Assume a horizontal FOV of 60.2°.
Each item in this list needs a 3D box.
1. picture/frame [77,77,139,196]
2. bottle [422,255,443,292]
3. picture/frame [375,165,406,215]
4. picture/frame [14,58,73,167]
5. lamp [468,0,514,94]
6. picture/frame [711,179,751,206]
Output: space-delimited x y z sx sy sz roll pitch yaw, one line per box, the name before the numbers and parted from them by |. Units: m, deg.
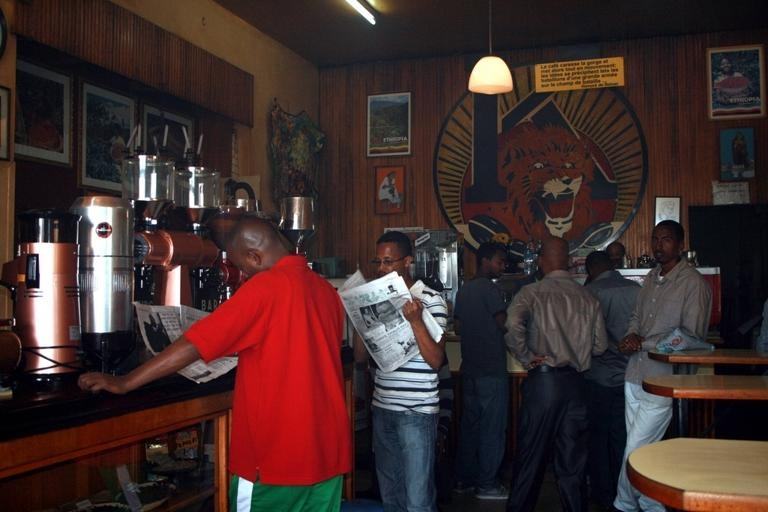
picture/frame | -2.303 -0.981 5.542 0.111 0.626 0.510 -4 -1 30
bottle | 0.539 0.204 7.167 0.222 0.350 0.129 -3 -5 -5
picture/frame | 0.090 -0.861 8.570 0.415 0.546 0.041 -4 -1 18
picture/frame | -2.593 -1.098 5.062 0.107 0.518 0.431 -4 -1 25
lamp | 1.067 -2.077 6.730 0.383 0.901 1.624 -4 -1 10
picture/frame | 3.946 -0.726 7.547 0.371 0.293 0.028 -4 -1 14
